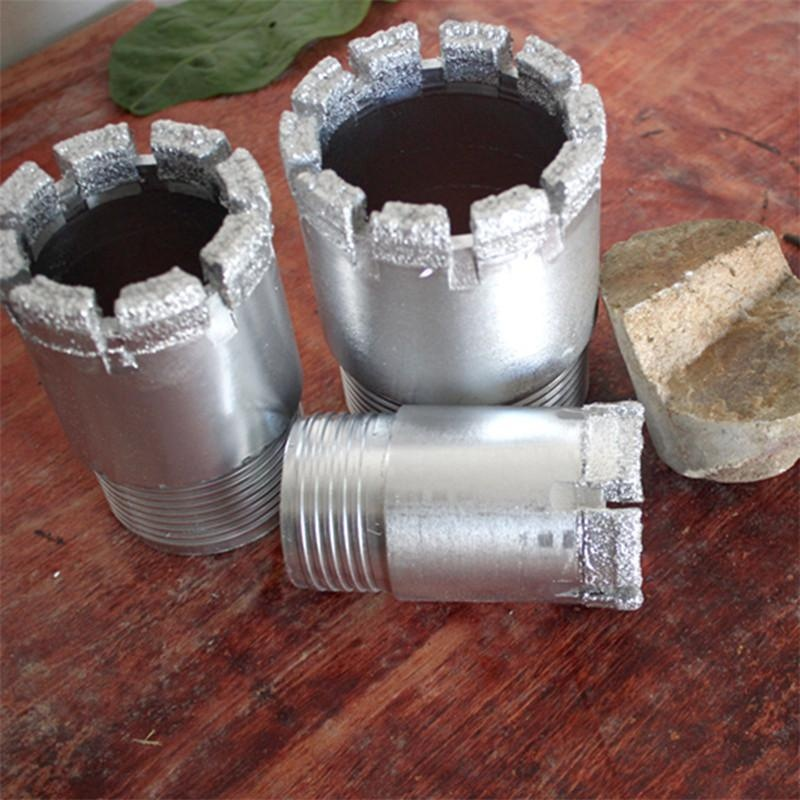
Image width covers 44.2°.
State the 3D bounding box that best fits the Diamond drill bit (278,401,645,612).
[{"bbox_3d":[0.059,0.095,0.917,0.284,0.182,0.204,2,39,9],"label":"Diamond drill bit"}]
